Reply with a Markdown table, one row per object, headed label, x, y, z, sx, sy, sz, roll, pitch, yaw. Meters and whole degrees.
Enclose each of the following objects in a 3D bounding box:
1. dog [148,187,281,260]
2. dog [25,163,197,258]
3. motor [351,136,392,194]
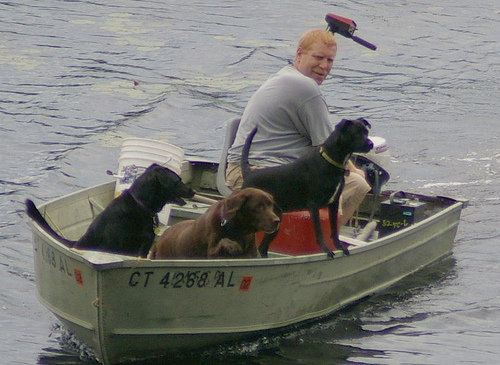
| label | x | y | z | sx | sy | sz | roll | pitch | yaw |
| --- | --- | --- | --- | --- | --- | --- | --- | --- | --- |
| dog | -0.571 | 0.823 | 19.636 | 1.030 | 1.165 | 3.176 | 5 | -8 | -33 |
| dog | -1.931 | 0.601 | 18.660 | 2.048 | 1.485 | 1.384 | -1 | 11 | 23 |
| motor | 2.117 | -0.322 | 21.581 | 0.620 | 0.900 | 0.706 | 16 | 21 | 40 |
